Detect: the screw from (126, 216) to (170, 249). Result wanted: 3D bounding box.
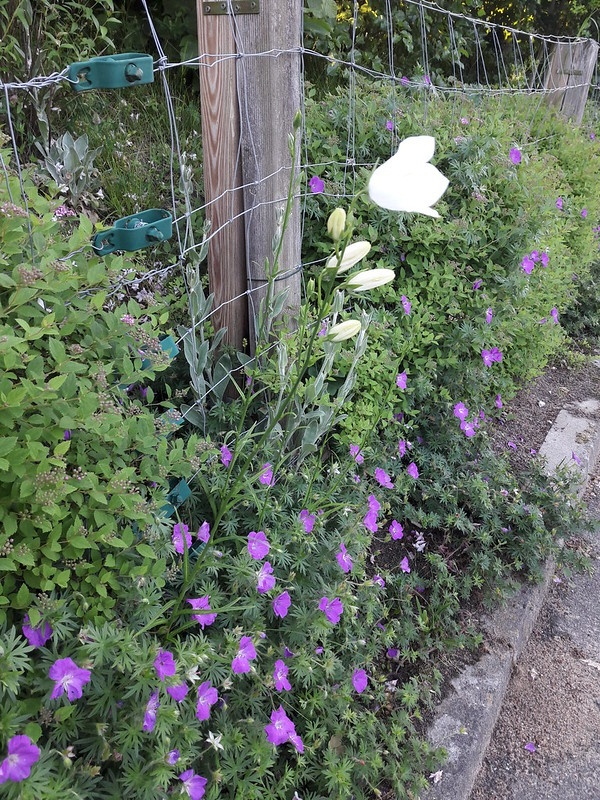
[{"bbox_3d":[-0.328,-0.371,1.341,0.066,0.031,0.091,22,34,26],"label":"screw"}]

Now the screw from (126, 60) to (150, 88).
[{"bbox_3d":[-0.318,-0.632,1.216,0.016,0.034,0.046,26,-1,-41],"label":"screw"}]
